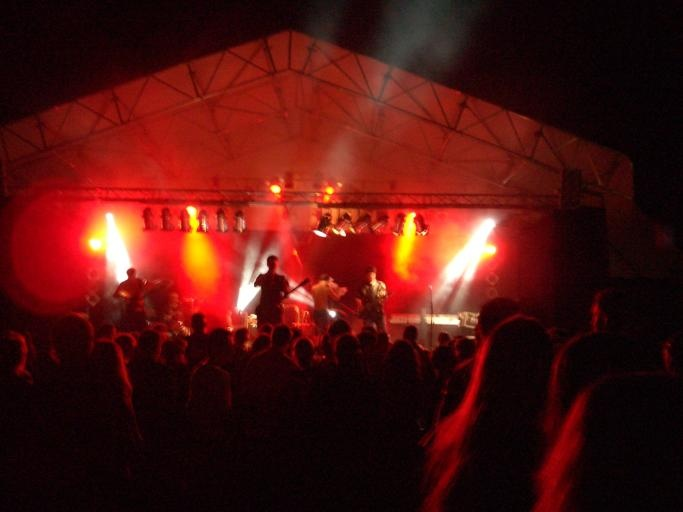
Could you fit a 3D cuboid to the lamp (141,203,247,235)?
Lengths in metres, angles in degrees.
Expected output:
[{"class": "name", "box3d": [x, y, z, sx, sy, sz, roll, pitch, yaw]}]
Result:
[{"class": "lamp", "box3d": [-3.716, -0.985, 14.101, 2.299, 0.727, 2.586, 7, -1, -19]}]

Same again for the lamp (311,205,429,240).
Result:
[{"class": "lamp", "box3d": [0.602, -0.824, 14.383, 2.625, 0.631, 2.357, 7, -1, -9]}]
